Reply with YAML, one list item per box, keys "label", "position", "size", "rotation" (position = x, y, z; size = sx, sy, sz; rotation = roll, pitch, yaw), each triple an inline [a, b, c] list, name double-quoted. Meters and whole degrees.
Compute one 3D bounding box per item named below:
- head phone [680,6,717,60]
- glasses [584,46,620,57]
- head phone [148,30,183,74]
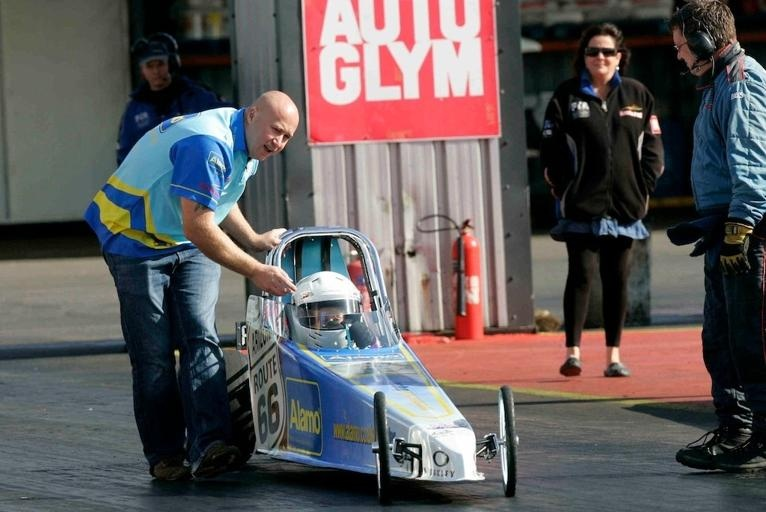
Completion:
- label: "head phone"
  position: [2.738, -1.924, 16.142]
  size: [0.166, 0.412, 0.329]
  rotation: [-34, -38, 13]
- label: "glasses"
  position: [2.135, -1.977, 18.233]
  size: [0.296, 0.100, 0.084]
  rotation: [0, 13, 6]
- label: "head phone"
  position: [-2.262, -2.165, 19.709]
  size: [0.400, 0.189, 0.406]
  rotation: [-4, -5, 3]
